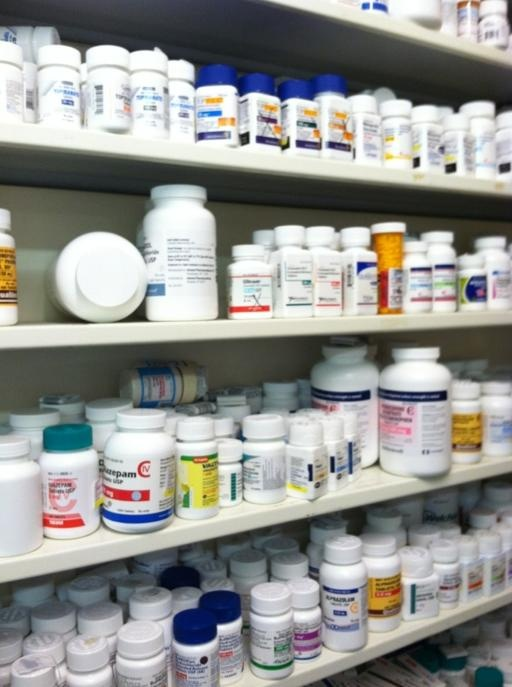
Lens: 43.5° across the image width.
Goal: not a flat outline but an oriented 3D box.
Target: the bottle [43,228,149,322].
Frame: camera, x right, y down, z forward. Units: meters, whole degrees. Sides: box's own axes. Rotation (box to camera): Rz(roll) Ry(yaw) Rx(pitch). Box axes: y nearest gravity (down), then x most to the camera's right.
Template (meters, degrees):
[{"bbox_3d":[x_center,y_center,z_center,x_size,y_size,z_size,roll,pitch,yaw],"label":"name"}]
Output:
[{"bbox_3d":[-0.213,-0.091,0.887,0.127,0.126,0.070,-9,10,-17],"label":"bottle"}]

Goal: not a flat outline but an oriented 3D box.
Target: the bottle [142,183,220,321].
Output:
[{"bbox_3d":[-0.118,-0.133,0.956,0.122,0.201,0.126,-7,9,1],"label":"bottle"}]
